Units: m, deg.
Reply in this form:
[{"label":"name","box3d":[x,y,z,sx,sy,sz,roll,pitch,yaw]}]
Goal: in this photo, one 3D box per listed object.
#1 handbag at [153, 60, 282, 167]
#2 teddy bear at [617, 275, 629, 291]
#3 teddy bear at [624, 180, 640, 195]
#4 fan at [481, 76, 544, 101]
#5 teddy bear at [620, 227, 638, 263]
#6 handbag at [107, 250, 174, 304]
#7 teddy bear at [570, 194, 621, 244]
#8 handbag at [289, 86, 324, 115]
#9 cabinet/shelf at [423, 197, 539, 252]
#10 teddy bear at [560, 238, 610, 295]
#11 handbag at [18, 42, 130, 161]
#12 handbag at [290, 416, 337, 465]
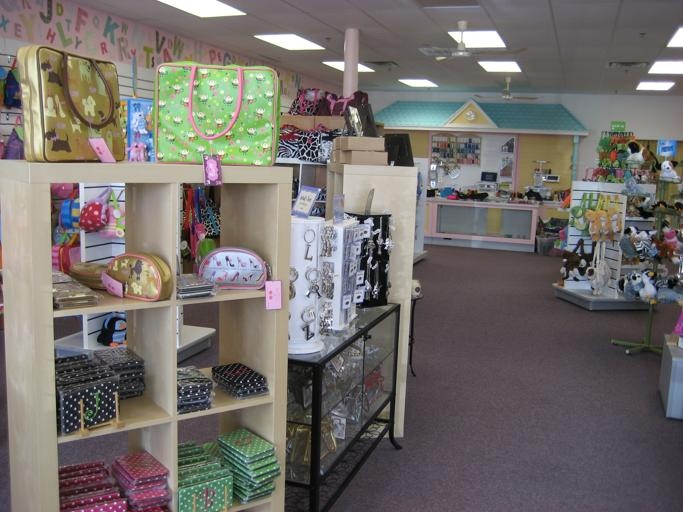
[{"label":"handbag","box3d":[-0.547,-0.611,2.330,0.434,0.376,0.204,1,11,-6]},{"label":"teddy bear","box3d":[3.637,0.348,6.898,0.117,0.169,0.172,13,42,23]},{"label":"teddy bear","box3d":[3.752,-0.894,6.905,0.179,0.185,0.253,7,12,24]},{"label":"fan","box3d":[4.041,-3.719,12.531,1.016,0.453,1.050,-1,7,-5]},{"label":"teddy bear","box3d":[3.731,-0.162,6.945,0.154,0.418,0.301,-11,-19,35]},{"label":"handbag","box3d":[-0.840,0.097,2.257,0.193,0.140,0.065,8,8,25]},{"label":"teddy bear","box3d":[3.418,-0.501,7.158,0.463,0.665,0.255,6,2,18]},{"label":"handbag","box3d":[-0.518,-2.222,7.711,0.527,0.399,0.415,9,13,33]},{"label":"cabinet/shelf","box3d":[3.139,-0.712,12.152,2.484,1.074,0.267,6,11,20]},{"label":"teddy bear","box3d":[3.411,0.156,7.600,0.716,0.744,0.574,2,1,-37]},{"label":"handbag","box3d":[-1.093,-0.605,2.183,0.177,0.431,0.443,3,11,18]},{"label":"handbag","box3d":[-0.181,1.005,3.018,0.231,0.240,0.059,29,2,-7]}]
